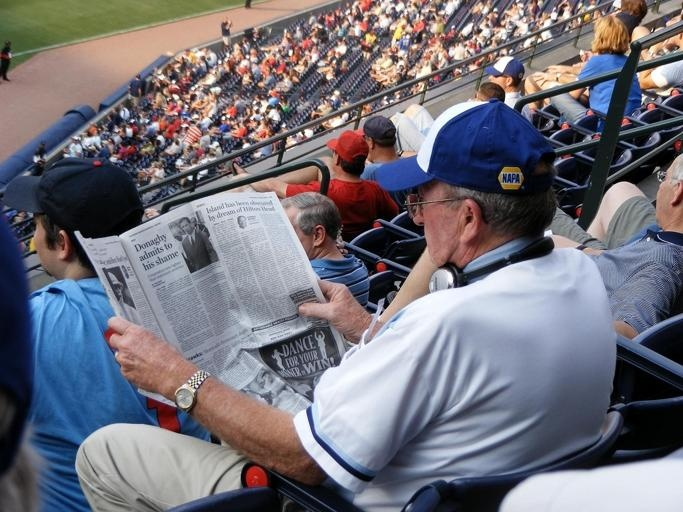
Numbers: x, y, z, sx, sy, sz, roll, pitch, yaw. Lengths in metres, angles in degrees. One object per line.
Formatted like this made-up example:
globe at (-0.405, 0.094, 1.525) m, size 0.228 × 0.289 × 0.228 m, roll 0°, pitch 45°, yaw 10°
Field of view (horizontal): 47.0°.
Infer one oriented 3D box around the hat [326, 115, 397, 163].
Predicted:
hat at (0.178, -0.933, 5.848) m, size 0.521 × 0.272 × 0.346 m, roll 32°, pitch 45°, yaw 30°

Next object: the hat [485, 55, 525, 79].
hat at (1.416, -1.692, 6.961) m, size 0.359 × 0.187 × 0.260 m, roll 15°, pitch 29°, yaw 30°

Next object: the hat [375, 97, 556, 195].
hat at (0.348, -0.294, 2.162) m, size 0.392 × 0.198 × 0.244 m, roll 15°, pitch 18°, yaw 26°

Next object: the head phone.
head phone at (0.396, 0.020, 2.111) m, size 0.230 × 0.069 × 0.185 m, roll -31°, pitch -7°, yaw 35°

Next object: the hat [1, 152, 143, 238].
hat at (-0.894, -0.207, 2.527) m, size 0.466 × 0.240 × 0.263 m, roll 6°, pitch 30°, yaw 34°
